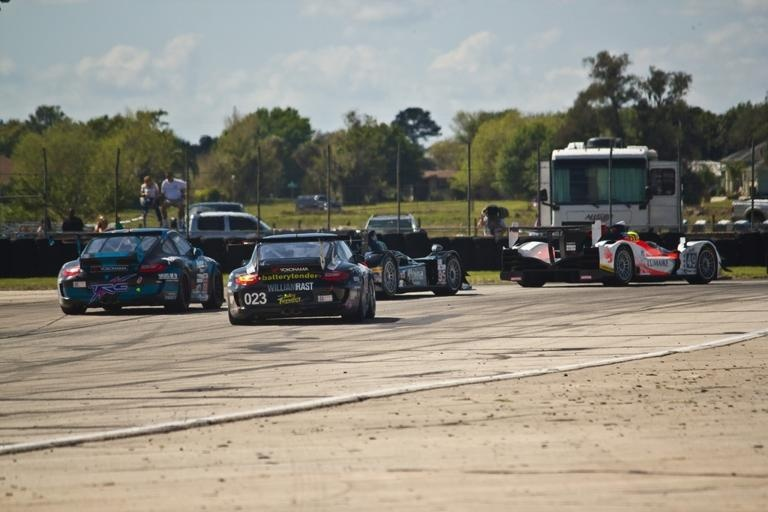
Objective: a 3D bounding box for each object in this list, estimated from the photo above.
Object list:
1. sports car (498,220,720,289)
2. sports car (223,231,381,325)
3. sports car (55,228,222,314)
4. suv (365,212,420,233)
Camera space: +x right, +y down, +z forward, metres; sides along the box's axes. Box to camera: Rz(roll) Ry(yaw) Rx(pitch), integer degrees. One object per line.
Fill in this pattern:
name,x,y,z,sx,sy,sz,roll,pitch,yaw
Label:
sports car,5.562,-0.025,37.451,5.222,1.894,1.658,-1,13,1
sports car,-1.629,0.365,30.816,1.796,1.610,4.378,0,0,1
sports car,-5.450,0.230,34.256,2.689,1.815,5.206,0,1,8
suv,0.443,-1.275,57.442,0.925,0.754,2.075,-5,2,-36
